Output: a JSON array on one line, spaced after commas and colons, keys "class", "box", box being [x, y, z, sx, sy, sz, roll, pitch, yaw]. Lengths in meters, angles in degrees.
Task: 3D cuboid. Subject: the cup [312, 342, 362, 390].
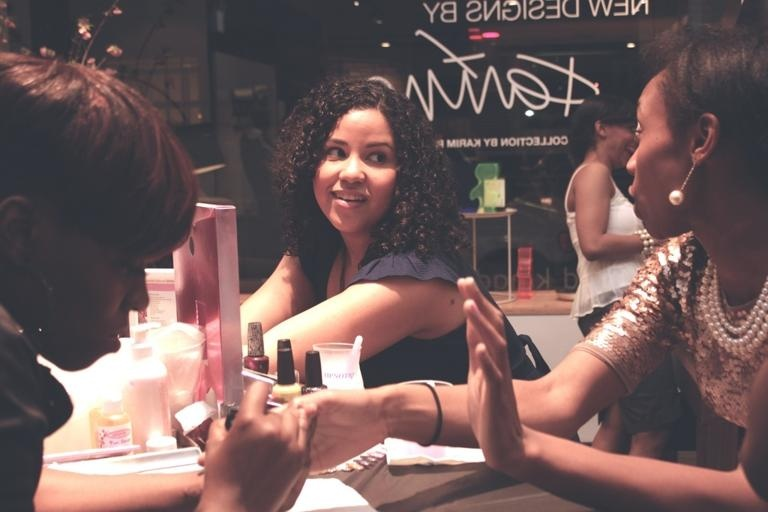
[{"class": "cup", "box": [-0.116, 0.274, 1.810, 0.112, 0.103, 0.112, -1, -11, 0]}]

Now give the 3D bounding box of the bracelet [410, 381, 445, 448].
[{"class": "bracelet", "box": [0.099, 0.387, 1.746, 0.044, 0.154, 0.147, 7, 25, 8]}]
